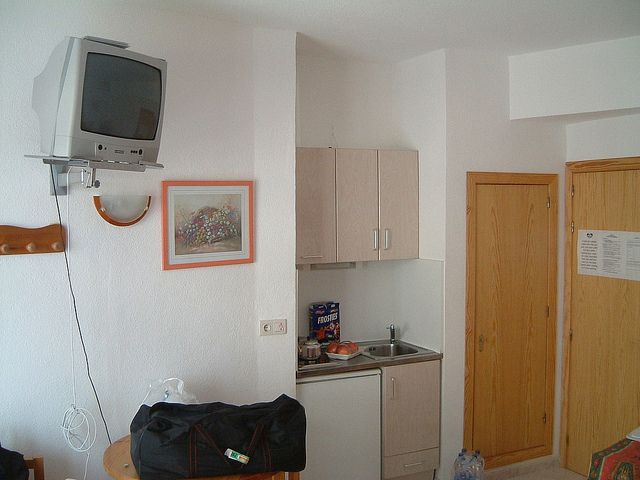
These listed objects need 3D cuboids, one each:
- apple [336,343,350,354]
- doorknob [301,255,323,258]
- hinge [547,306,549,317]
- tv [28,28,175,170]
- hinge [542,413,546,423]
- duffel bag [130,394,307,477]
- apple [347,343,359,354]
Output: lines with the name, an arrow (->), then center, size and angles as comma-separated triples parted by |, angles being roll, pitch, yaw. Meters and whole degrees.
apple -> 0.182, 0.856, 4.065 | 0.105, 0.062, 0.072 | -2, 2, 6
doorknob -> -0.046, 0.125, 3.893 | 0.142, 0.017, 0.026 | -3, 2, -10
hinge -> 1.913, 0.599, 4.337 | 0.012, 0.079, 0.002 | -2, 2, 5
tv -> -1.234, -0.808, 2.907 | 0.624, 0.732, 0.703 | 17, 15, 28
hinge -> 1.889, 1.494, 4.355 | 0.031, 0.074, 0.005 | -2, 2, -12
duffel bag -> -0.574, 1.129, 2.967 | 0.973, 0.375, 0.429 | -3, 2, -15
apple -> 0.269, 0.861, 4.118 | 0.064, 0.044, 0.067 | -1, 0, -19
